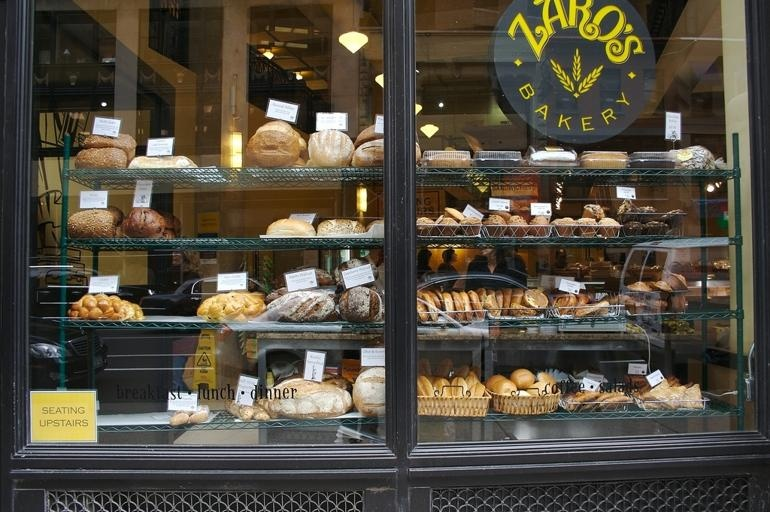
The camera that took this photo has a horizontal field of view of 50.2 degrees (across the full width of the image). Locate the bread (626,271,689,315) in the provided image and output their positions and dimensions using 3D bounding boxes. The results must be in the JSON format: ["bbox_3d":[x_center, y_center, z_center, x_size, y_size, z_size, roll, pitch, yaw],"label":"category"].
[{"bbox_3d":[1.835,0.245,5.499,0.302,0.177,0.295,-1,-2,14],"label":"bread"}]

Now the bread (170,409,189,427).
[{"bbox_3d":[-1.344,1.048,5.338,0.130,0.087,0.061,-5,6,-19],"label":"bread"}]

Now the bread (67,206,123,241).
[{"bbox_3d":[-1.934,-0.217,5.443,0.270,0.130,0.202,-11,8,-30],"label":"bread"}]

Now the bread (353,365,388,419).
[{"bbox_3d":[-0.100,0.870,5.252,0.264,0.284,0.153,-6,-17,24],"label":"bread"}]

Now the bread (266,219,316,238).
[{"bbox_3d":[-0.635,-0.172,5.447,0.221,0.066,0.152,-1,-1,11],"label":"bread"}]

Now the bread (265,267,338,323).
[{"bbox_3d":[-0.546,0.303,5.360,0.379,0.345,0.108,-13,-20,3],"label":"bread"}]

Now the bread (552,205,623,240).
[{"bbox_3d":[1.342,-0.222,5.456,0.325,0.137,0.229,-1,-2,-1],"label":"bread"}]

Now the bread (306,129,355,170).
[{"bbox_3d":[-0.362,-0.773,5.611,0.418,0.173,0.546,-2,33,-1],"label":"bread"}]

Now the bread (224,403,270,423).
[{"bbox_3d":[-0.903,1.006,5.325,0.197,0.055,0.122,8,-6,17],"label":"bread"}]

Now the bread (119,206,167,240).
[{"bbox_3d":[-1.609,-0.216,5.455,0.295,0.204,0.095,-5,6,-18],"label":"bread"}]

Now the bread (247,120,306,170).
[{"bbox_3d":[-0.732,-0.722,5.440,0.332,0.312,0.176,-14,-8,8],"label":"bread"}]

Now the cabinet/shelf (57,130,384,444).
[{"bbox_3d":[-1.092,0.259,5.434,2.115,1.881,0.684,-1,-4,4],"label":"cabinet/shelf"}]

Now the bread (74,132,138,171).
[{"bbox_3d":[-1.892,-0.678,5.479,0.278,0.129,0.276,-1,-1,5],"label":"bread"}]

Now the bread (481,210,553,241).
[{"bbox_3d":[0.879,-0.195,5.433,0.341,0.117,0.206,1,0,-21],"label":"bread"}]

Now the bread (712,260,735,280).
[{"bbox_3d":[2.246,0.090,5.436,0.124,0.089,0.110,2,-10,15],"label":"bread"}]

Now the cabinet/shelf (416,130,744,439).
[{"bbox_3d":[1.241,0.237,5.423,2.103,1.818,0.706,-1,0,-9],"label":"cabinet/shelf"}]

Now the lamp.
[{"bbox_3d":[-0.071,-1.128,5.381,0.661,0.748,0.360,-1,6,29],"label":"lamp"}]

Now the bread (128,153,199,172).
[{"bbox_3d":[-1.485,-0.618,5.464,0.450,0.104,0.097,-5,6,-11],"label":"bread"}]

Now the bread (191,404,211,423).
[{"bbox_3d":[-1.205,1.023,5.358,0.099,0.041,0.100,-33,45,-4],"label":"bread"}]

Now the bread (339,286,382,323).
[{"bbox_3d":[-0.156,0.282,5.464,0.340,0.140,0.432,-3,26,2],"label":"bread"}]
